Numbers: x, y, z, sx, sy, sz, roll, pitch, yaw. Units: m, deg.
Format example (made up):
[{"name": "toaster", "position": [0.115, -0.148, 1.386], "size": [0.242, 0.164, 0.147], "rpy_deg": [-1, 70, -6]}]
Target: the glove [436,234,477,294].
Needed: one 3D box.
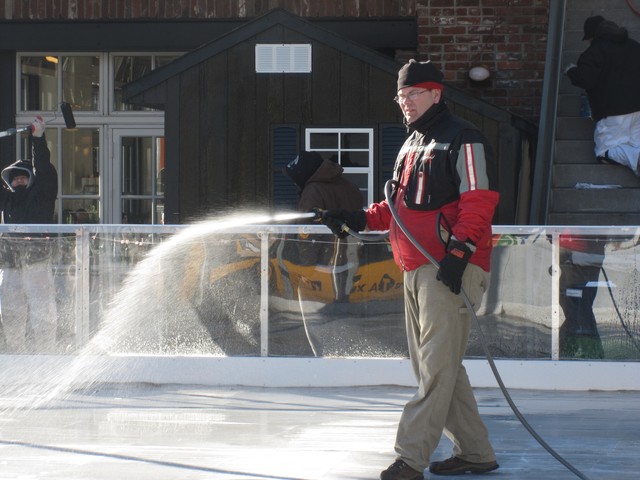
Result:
[{"name": "glove", "position": [1.401, 0.244, 17.948], "size": [0.391, 0.587, 0.198], "rpy_deg": [0, 4, 3]}]

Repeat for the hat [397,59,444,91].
[{"name": "hat", "position": [1.082, -1.708, 18.190], "size": [0.356, 0.222, 0.363], "rpy_deg": [5, 9, 23]}]

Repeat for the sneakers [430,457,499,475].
[{"name": "sneakers", "position": [1.488, 2.279, 18.129], "size": [0.674, 0.257, 0.237], "rpy_deg": [3, -3, 5]}]
